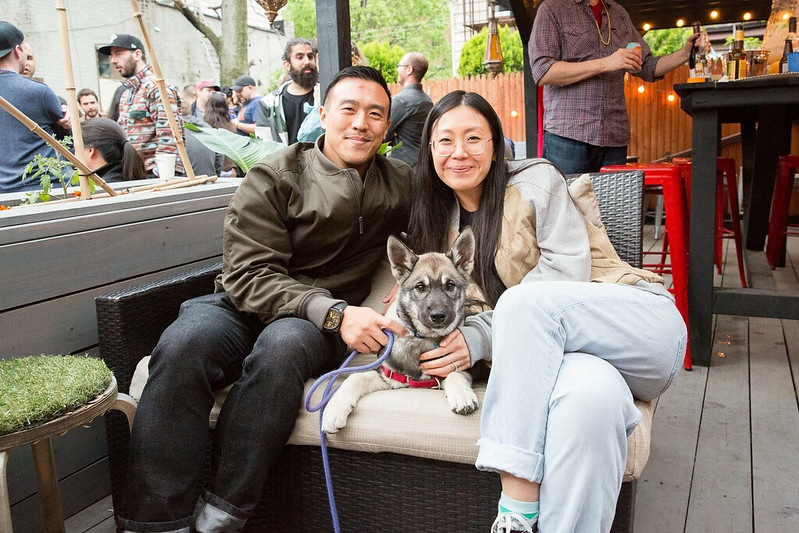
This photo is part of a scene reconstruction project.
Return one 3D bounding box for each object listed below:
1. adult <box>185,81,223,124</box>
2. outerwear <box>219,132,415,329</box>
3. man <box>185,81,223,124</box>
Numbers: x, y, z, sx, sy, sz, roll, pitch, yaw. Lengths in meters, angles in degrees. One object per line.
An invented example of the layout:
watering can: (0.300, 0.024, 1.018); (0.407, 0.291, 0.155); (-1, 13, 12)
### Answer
adult: (-3.197, -2.711, 9.415); (0.517, 0.640, 0.446); (-3, 9, 19)
outerwear: (-0.577, -0.140, 3.447); (1.105, 1.027, 1.011); (-9, 31, -36)
man: (-3.176, -2.724, 9.446); (0.490, 0.618, 0.421); (-5, 9, 2)
